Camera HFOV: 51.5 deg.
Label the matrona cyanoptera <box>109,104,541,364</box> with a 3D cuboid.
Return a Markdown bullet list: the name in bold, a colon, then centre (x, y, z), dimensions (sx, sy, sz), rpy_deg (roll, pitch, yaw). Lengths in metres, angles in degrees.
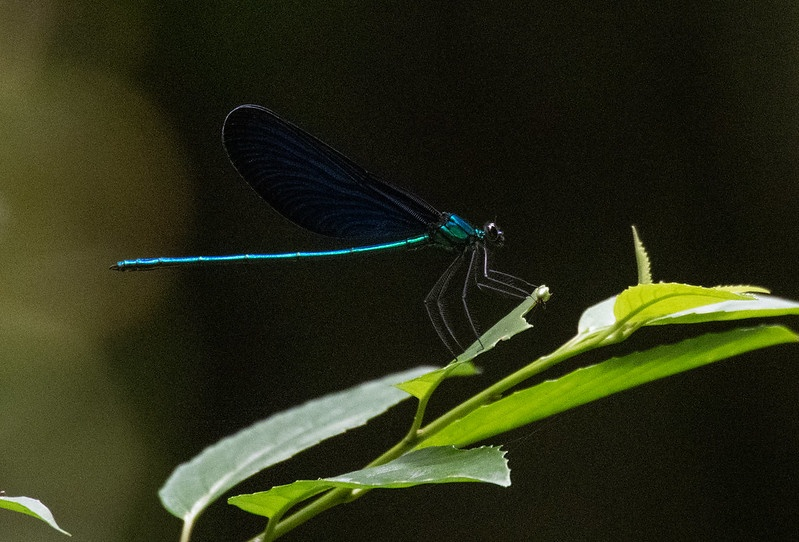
- **matrona cyanoptera**: centre (-0.199, -0.097, 3.435), dimensions (1.946, 1.064, 0.642), rpy_deg (-5, 7, -20)
